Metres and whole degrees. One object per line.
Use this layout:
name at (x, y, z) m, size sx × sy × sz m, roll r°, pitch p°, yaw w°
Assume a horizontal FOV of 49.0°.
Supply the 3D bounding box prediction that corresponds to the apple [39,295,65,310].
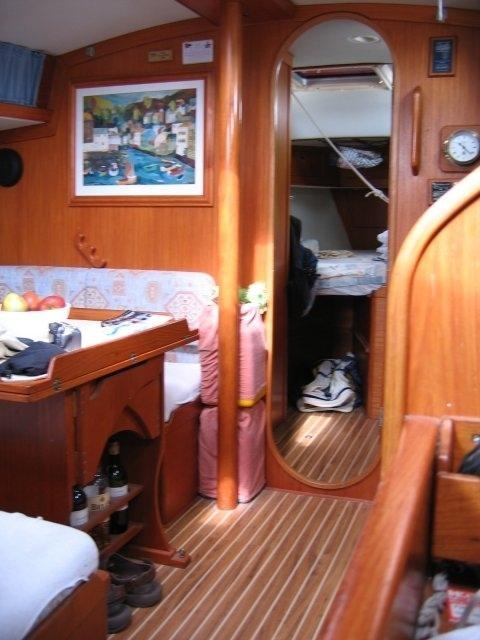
apple at (-0.628, -0.055, 1.767) m, size 0.062 × 0.066 × 0.057 m, roll -9°, pitch -19°, yaw 8°

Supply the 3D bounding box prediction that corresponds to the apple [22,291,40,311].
apple at (-0.669, -0.060, 1.697) m, size 0.057 × 0.065 × 0.058 m, roll -7°, pitch -9°, yaw 38°

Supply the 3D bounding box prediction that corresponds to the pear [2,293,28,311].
pear at (-0.706, -0.053, 1.675) m, size 0.058 × 0.058 × 0.059 m, roll 8°, pitch 1°, yaw 3°

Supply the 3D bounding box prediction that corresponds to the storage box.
storage box at (-0.020, 0.439, 2.818) m, size 0.395 × 1.055 × 0.238 m, roll 0°, pitch 7°, yaw -13°

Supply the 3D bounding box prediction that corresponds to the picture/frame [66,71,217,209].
picture/frame at (-0.549, -1.087, 3.132) m, size 0.948 × 0.640 × 0.039 m, roll 3°, pitch 8°, yaw 28°

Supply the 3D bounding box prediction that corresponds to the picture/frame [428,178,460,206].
picture/frame at (0.992, -0.627, 2.580) m, size 0.123 × 0.118 × 0.043 m, roll 3°, pitch 7°, yaw 10°
